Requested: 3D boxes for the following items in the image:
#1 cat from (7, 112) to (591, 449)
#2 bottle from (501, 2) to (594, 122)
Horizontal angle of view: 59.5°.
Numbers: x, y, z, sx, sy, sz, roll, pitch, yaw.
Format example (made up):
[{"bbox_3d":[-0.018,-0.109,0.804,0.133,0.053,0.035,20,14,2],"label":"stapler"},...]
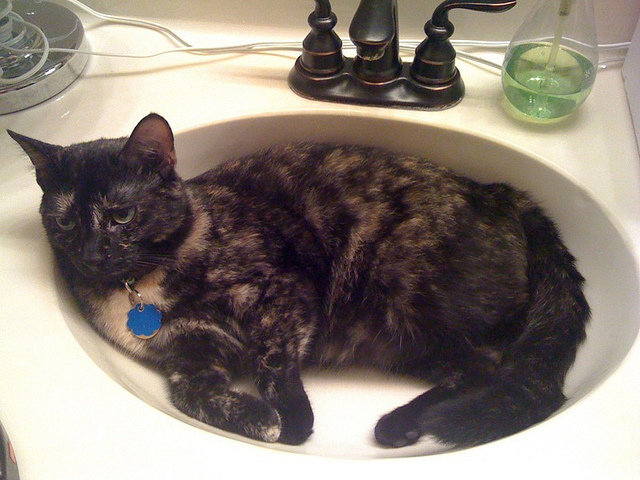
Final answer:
[{"bbox_3d":[-0.033,0.065,1.073,0.839,0.539,0.448,-2,92,-6],"label":"cat"},{"bbox_3d":[0.410,-0.318,0.995,0.153,0.145,0.168,17,63,10],"label":"bottle"}]
